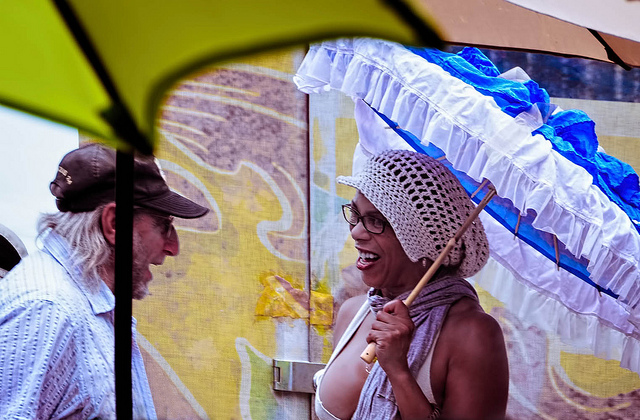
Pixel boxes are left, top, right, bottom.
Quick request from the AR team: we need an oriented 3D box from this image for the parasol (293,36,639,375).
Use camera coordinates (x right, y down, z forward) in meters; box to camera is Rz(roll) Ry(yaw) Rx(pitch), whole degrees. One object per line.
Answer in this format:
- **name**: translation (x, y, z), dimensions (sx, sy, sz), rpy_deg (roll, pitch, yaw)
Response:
- **parasol**: translation (0.759, -0.029, 5.189), dimensions (1.164, 0.641, 1.236), rpy_deg (35, -17, 18)

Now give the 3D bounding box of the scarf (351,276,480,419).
- **scarf**: translation (0.406, 0.605, 4.970), dimensions (0.168, 0.718, 0.437), rpy_deg (17, -3, 17)

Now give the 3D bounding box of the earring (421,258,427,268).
- **earring**: translation (0.467, 0.237, 5.030), dimensions (0.020, 0.037, 0.025), rpy_deg (3, -4, 0)
